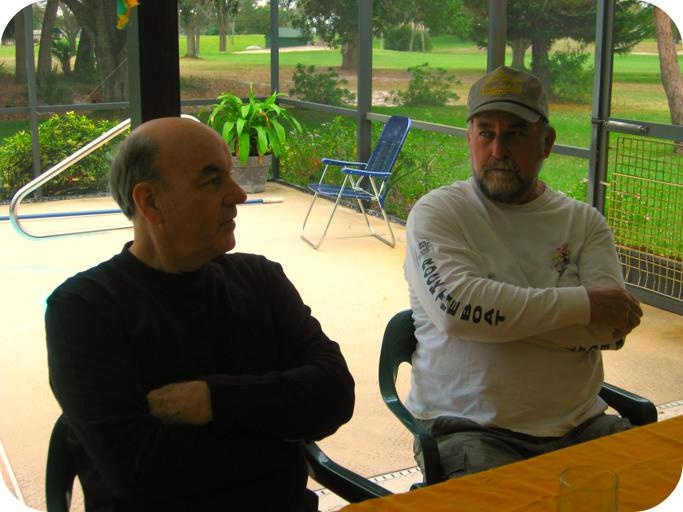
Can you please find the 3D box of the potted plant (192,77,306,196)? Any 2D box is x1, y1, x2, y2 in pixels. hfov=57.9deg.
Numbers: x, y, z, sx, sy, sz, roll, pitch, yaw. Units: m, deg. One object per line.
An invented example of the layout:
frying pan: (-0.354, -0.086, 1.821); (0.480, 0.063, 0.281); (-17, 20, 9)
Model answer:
potted plant: (-1.230, -1.549, 8.613); (1.251, 1.291, 1.206); (-6, 17, -23)

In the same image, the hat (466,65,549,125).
hat: (0.586, -0.567, 2.177); (0.178, 0.136, 0.253); (3, 4, 24)

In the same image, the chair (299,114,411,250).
chair: (0.135, -0.780, 6.427); (0.919, 1.390, 0.794); (-1, 14, -17)
